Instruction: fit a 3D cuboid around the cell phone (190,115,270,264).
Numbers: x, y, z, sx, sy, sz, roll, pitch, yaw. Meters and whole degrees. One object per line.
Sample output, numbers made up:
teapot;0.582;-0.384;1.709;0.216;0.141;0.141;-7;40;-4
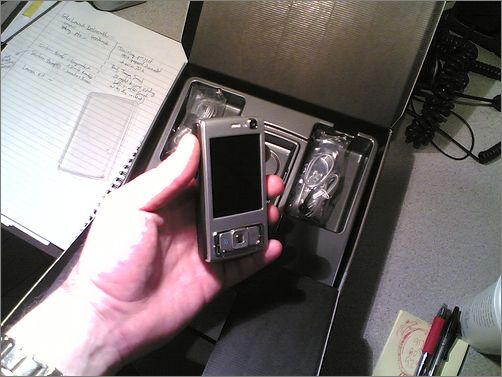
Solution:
cell phone;-0.035;0.003;0.838;0.131;0.143;0.247;-2;63;-3
